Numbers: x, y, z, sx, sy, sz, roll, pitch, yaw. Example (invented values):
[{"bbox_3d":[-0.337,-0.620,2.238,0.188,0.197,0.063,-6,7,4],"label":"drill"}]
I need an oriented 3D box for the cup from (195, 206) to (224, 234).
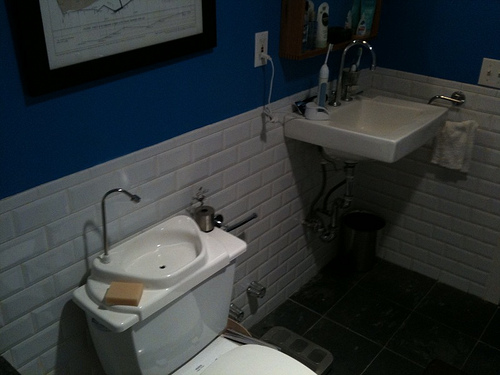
[{"bbox_3d":[-0.175,0.127,1.643,0.077,0.114,0.134,5,37,7],"label":"cup"}]

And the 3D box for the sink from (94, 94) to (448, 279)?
[{"bbox_3d":[0.150,-0.026,1.874,0.518,0.199,1.977,17,33,30],"label":"sink"}]

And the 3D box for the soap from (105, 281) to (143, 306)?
[{"bbox_3d":[-0.421,0.356,1.239,0.122,0.050,0.090,4,34,7],"label":"soap"}]

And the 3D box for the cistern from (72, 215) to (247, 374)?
[{"bbox_3d":[-0.322,0.434,1.481,0.276,0.517,0.626,28,43,36],"label":"cistern"}]
